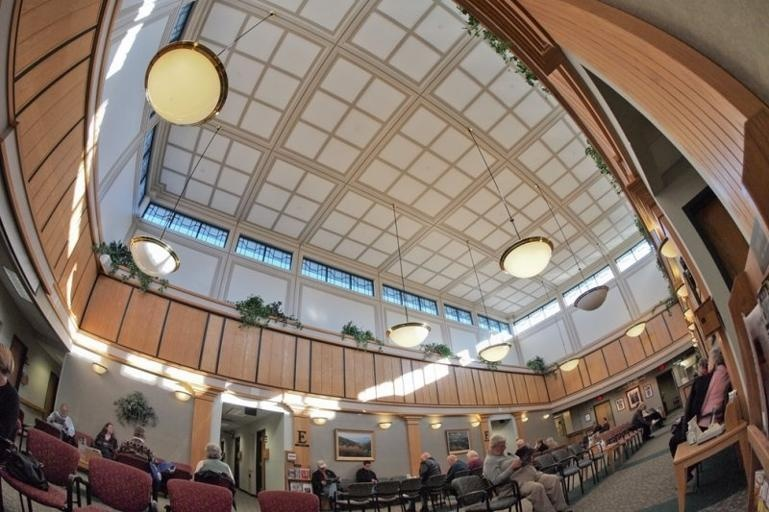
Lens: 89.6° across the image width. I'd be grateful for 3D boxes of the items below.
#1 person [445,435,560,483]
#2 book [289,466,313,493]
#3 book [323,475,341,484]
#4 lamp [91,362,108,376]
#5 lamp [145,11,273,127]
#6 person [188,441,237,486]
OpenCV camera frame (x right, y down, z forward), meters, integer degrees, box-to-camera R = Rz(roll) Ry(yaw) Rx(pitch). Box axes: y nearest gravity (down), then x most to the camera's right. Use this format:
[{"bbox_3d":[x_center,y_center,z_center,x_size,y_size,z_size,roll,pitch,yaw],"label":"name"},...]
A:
[{"bbox_3d":[1.846,3.092,5.640,0.627,0.560,0.981,23,-45,-23],"label":"person"},{"bbox_3d":[-2.241,5.882,10.277,0.663,0.648,0.713,9,-39,-11],"label":"book"},{"bbox_3d":[-1.349,5.793,9.998,0.424,0.168,0.233,-15,-22,38],"label":"book"},{"bbox_3d":[-6.401,2.533,8.646,0.253,0.139,0.257,2,-29,33],"label":"lamp"},{"bbox_3d":[-3.017,-2.671,5.962,1.142,0.809,0.992,-10,-39,13],"label":"lamp"},{"bbox_3d":[-2.569,3.151,5.969,0.512,0.591,0.809,12,-39,-15],"label":"person"}]
